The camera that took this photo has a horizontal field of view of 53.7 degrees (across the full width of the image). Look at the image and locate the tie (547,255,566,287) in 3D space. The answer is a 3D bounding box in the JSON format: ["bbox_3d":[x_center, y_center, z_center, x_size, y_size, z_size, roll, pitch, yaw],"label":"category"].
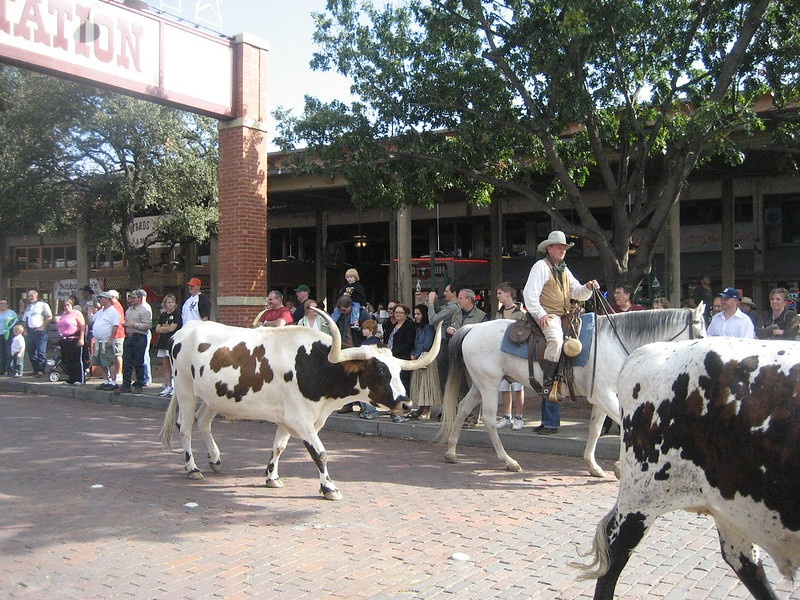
[{"bbox_3d":[2.141,-0.403,10.924,0.218,0.416,0.329,4,-10,40],"label":"tie"}]

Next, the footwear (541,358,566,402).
[{"bbox_3d":[2.059,1.071,10.789,0.215,0.584,0.335,-1,1,12],"label":"footwear"}]

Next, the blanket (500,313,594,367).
[{"bbox_3d":[2.061,0.471,11.220,1.322,0.583,0.924,-2,0,30],"label":"blanket"}]

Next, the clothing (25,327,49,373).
[{"bbox_3d":[-9.797,1.338,21.343,0.508,1.257,0.422,2,1,10],"label":"clothing"}]

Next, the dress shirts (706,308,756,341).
[{"bbox_3d":[4.887,0.344,11.701,0.147,0.375,0.417,8,-6,-32],"label":"dress shirts"}]

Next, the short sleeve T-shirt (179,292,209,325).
[{"bbox_3d":[-4.269,0.150,16.442,0.329,0.781,0.833,10,-12,-40],"label":"short sleeve T-shirt"}]

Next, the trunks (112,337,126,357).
[{"bbox_3d":[-6.232,0.996,17.629,0.309,0.590,0.403,-1,1,-23],"label":"trunks"}]

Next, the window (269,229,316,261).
[{"bbox_3d":[-5.047,-2.964,38.585,1.559,2.379,1.725,0,-2,33],"label":"window"}]

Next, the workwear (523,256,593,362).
[{"bbox_3d":[2.127,0.110,10.849,0.875,1.393,0.601,-2,2,-22],"label":"workwear"}]

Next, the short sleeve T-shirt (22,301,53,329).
[{"bbox_3d":[-10.303,0.411,22.517,0.999,0.935,0.453,-6,-12,14],"label":"short sleeve T-shirt"}]

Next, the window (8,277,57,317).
[{"bbox_3d":[-15.989,-0.307,34.602,1.748,1.825,1.435,0,-5,-13],"label":"window"}]

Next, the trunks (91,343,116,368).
[{"bbox_3d":[-6.612,1.195,17.703,0.493,0.538,0.297,-2,-6,31],"label":"trunks"}]
